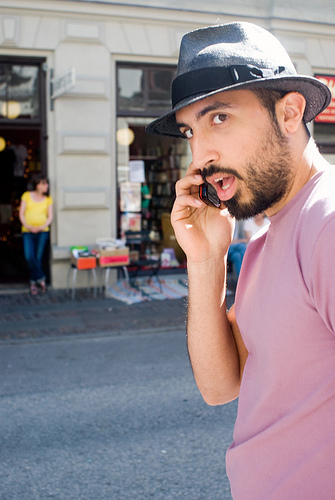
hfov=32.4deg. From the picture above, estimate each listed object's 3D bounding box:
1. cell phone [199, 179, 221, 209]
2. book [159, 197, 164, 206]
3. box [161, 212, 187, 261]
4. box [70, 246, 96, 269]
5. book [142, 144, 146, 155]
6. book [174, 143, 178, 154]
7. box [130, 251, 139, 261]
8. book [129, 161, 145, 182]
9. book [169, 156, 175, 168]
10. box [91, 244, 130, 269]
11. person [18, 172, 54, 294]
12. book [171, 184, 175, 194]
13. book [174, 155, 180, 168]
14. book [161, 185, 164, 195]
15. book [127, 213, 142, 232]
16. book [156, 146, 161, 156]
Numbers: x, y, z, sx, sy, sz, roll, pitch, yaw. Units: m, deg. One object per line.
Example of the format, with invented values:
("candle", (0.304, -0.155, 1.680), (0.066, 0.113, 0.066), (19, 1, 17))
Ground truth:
("cell phone", (0.112, -0.160, 1.664), (0.019, 0.062, 0.069), (-22, -4, 0))
("book", (-0.111, -0.849, 10.113), (0.023, 0.145, 0.106), (5, 10, 39))
("box", (0.095, -0.237, 10.205), (0.412, 0.833, 0.359), (-1, 8, -1))
("box", (-1.166, 0.102, 7.953), (0.336, 0.252, 0.526), (-2, 8, -11))
("book", (-0.394, -1.670, 9.610), (0.054, 0.174, 0.157), (-1, 8, 4))
("book", (0.146, -1.763, 10.048), (0.059, 0.185, 0.047), (-1, 8, 1))
("box", (-0.531, 0.104, 9.451), (0.149, 0.140, 0.159), (3, -15, -15))
("book", (-0.527, -1.308, 9.601), (0.366, 0.401, 0.044), (-4, 6, -32))
("book", (0.079, -1.535, 10.117), (0.100, 0.202, 0.050), (-2, 8, -9))
("box", (-0.798, 0.094, 8.055), (0.488, 0.278, 0.336), (-1, 8, -3))
("person", (-1.754, -0.243, 7.765), (0.431, 1.500, 0.694), (-3, 8, -13))
("book", (0.091, -1.083, 10.256), (0.041, 0.172, 0.140), (0, 8, 7))
("book", (0.167, -1.545, 10.122), (0.095, 0.220, 0.078), (-1, 8, 3))
("book", (-0.098, -1.054, 10.115), (0.019, 0.160, 0.061), (5, 10, 37))
("book", (-0.552, -0.479, 9.754), (0.293, 0.289, 0.062), (-8, 10, -42))
("book", (-0.157, -1.690, 9.916), (0.030, 0.149, 0.121), (4, 9, 33))
